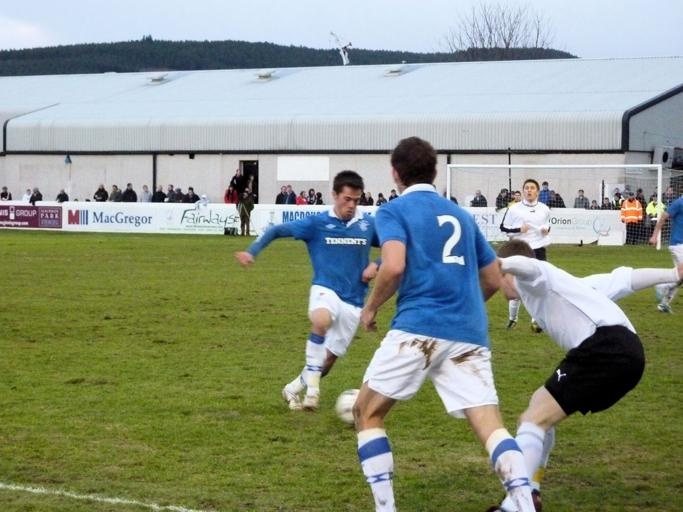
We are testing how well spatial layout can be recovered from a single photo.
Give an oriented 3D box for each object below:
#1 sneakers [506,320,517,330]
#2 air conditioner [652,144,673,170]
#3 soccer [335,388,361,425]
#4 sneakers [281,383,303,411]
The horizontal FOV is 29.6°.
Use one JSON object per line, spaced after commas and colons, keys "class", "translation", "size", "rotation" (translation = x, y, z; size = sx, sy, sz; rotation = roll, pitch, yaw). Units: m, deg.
{"class": "sneakers", "translation": [3.071, 1.181, 23.015], "size": [0.077, 0.169, 0.234], "rotation": [0, 7, -9]}
{"class": "air conditioner", "translation": [10.966, -3.406, 43.556], "size": [0.591, 0.725, 3.199], "rotation": [8, 6, 12]}
{"class": "soccer", "translation": [0.089, 2.137, 18.993], "size": [0.454, 0.569, 0.472], "rotation": [4, 17, 0]}
{"class": "sneakers", "translation": [-0.726, 2.105, 19.404], "size": [0.182, 0.400, 0.246], "rotation": [-13, -8, 21]}
